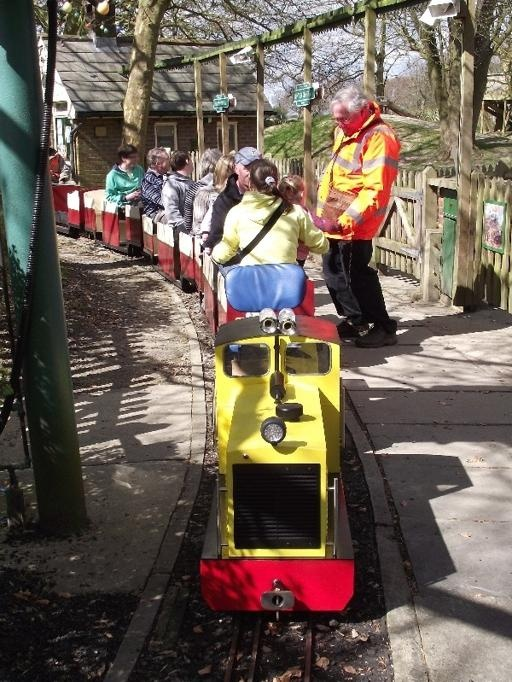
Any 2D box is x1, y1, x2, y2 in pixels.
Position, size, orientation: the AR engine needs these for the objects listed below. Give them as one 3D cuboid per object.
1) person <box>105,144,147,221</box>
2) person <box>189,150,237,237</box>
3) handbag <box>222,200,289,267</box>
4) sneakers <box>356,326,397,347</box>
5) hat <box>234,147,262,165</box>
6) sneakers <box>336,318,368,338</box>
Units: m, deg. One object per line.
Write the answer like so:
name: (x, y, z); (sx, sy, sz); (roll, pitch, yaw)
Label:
person: (-2.667, -3.390, 12.775); (1.083, 1.351, 0.721); (9, 18, 41)
person: (-0.569, -1.791, 7.571); (0.483, 1.259, 0.913); (6, 14, -7)
handbag: (0.027, -0.731, 4.328); (0.120, 0.433, 0.401); (28, 29, -1)
sneakers: (1.376, -0.059, 7.034); (0.529, 0.233, 0.192); (-2, 19, -12)
hat: (-0.066, -1.564, 5.257); (0.218, 0.156, 0.310); (-4, 17, -14)
sneakers: (1.099, -0.133, 7.233); (0.544, 0.203, 0.185); (0, 7, -16)
